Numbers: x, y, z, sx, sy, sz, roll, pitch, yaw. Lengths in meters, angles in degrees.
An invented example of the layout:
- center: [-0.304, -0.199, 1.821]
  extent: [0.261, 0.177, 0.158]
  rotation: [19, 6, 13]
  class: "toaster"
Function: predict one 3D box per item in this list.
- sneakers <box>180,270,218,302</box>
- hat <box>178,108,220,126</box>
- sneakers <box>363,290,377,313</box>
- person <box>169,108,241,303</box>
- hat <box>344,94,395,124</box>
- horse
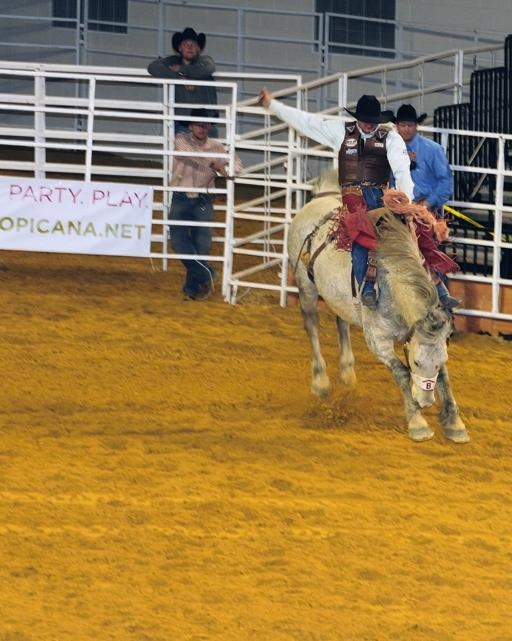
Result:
- center: [-0.597, -0.364, 9.267]
  extent: [0.188, 0.446, 0.215]
  rotation: [12, -13, 40]
  class: "sneakers"
- center: [-0.566, -2.096, 9.087]
  extent: [0.466, 0.122, 0.462]
  rotation: [-2, 3, 5]
  class: "hat"
- center: [0.714, -0.130, 5.629]
  extent: [0.087, 0.134, 0.164]
  rotation: [2, 5, 13]
  class: "sneakers"
- center: [-0.583, -1.193, 9.171]
  extent: [0.572, 1.935, 0.588]
  rotation: [0, 6, -5]
  class: "person"
- center: [0.735, -1.451, 5.955]
  extent: [0.281, 0.104, 0.315]
  rotation: [-5, 17, -36]
  class: "hat"
- center: [0.892, -0.094, 6.541]
  extent: [0.907, 1.713, 3.298]
  rotation: [-7, 16, -7]
  class: "horse"
